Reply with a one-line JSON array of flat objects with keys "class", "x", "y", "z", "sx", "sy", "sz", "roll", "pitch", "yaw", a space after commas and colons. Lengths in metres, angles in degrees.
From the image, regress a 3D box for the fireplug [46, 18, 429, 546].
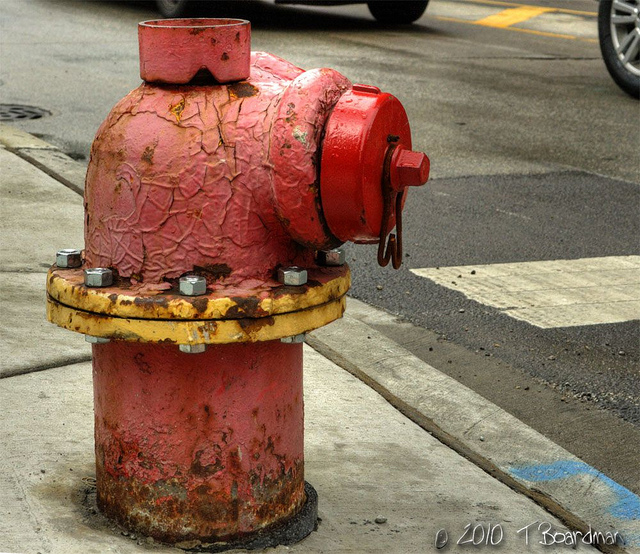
[{"class": "fireplug", "x": -0.281, "y": 0.019, "z": 3.390, "sx": 1.030, "sy": 1.487, "sz": 0.455, "roll": 1, "pitch": 18, "yaw": -10}]
